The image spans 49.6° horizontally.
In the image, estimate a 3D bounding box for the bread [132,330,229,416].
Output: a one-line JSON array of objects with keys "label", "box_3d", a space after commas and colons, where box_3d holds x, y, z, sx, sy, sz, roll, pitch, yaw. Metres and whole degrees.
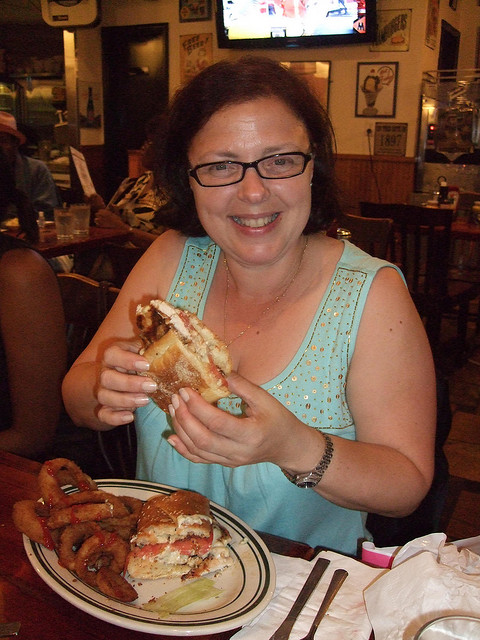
[{"label": "bread", "box_3d": [-0.091, 0.070, 0.955, 0.158, 0.159, 0.058, 49, 38, 3]}]

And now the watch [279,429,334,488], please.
[{"label": "watch", "box_3d": [0.149, 0.284, 1.044, 0.032, 0.113, 0.109, 39, 29, -18]}]

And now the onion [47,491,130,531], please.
[{"label": "onion", "box_3d": [-0.282, 0.341, 0.942, 0.143, 0.044, 0.163, -23, -25, 23]}]

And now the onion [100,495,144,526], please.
[{"label": "onion", "box_3d": [-0.202, 0.343, 0.932, 0.046, 0.012, 0.044, 5, 8, 18]}]

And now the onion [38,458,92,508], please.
[{"label": "onion", "box_3d": [-0.329, 0.293, 0.960, 0.079, 0.075, 0.029, 42, 62, 15]}]

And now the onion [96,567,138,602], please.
[{"label": "onion", "box_3d": [-0.182, 0.383, 0.764, 0.046, 0.012, 0.043, 40, 6, 16]}]

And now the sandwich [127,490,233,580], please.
[{"label": "sandwich", "box_3d": [-0.119, 0.354, 0.914, 0.156, 0.064, 0.187, -2, 12, -17]}]

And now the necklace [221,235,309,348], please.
[{"label": "necklace", "box_3d": [0.062, -0.093, 1.463, 0.256, 0.272, 0.268, 1, 16, 5]}]

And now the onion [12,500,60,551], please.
[{"label": "onion", "box_3d": [-0.332, 0.330, 0.851, 0.071, 0.062, 0.026, 39, 77, 26]}]

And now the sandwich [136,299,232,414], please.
[{"label": "sandwich", "box_3d": [-0.108, 0.054, 0.931, 0.204, 0.156, 0.064, 38, 45, 25]}]

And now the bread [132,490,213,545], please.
[{"label": "bread", "box_3d": [-0.115, 0.344, 0.909, 0.143, 0.047, 0.160, -1, 2, -6]}]

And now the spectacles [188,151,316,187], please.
[{"label": "spectacles", "box_3d": [0.025, -0.356, 1.233, 0.286, 0.078, 0.093, 0, 16, 0]}]
